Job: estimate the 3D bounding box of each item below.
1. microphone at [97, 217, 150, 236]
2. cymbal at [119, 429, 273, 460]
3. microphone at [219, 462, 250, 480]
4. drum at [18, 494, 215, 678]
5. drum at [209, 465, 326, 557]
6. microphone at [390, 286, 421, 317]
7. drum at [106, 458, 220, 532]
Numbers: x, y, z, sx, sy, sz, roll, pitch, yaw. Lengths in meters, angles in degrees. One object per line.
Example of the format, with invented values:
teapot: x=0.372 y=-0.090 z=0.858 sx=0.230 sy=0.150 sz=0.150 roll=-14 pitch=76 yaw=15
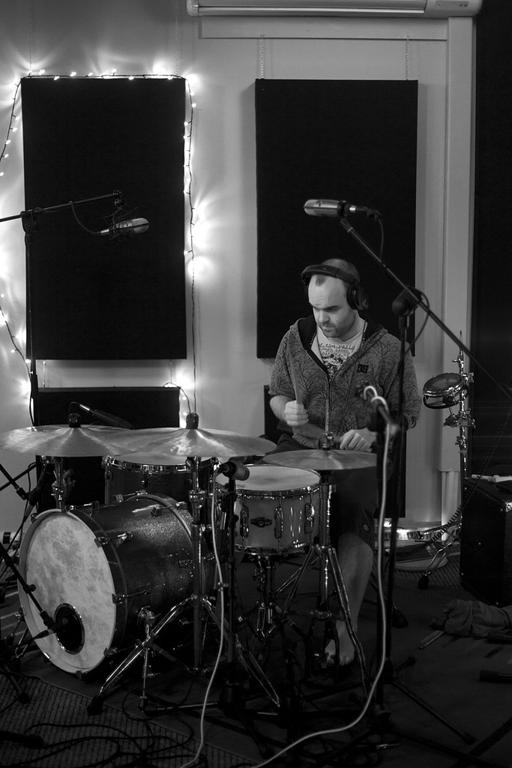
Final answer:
microphone: x=-0.605 y=-0.735 z=4.111 sx=0.231 sy=0.092 sz=0.409 roll=-3 pitch=8 yaw=-7
cymbal: x=-0.162 y=0.186 z=2.717 sx=0.213 sy=0.054 sz=0.211 roll=-5 pitch=13 yaw=-38
microphone: x=-0.058 y=0.243 z=2.542 sx=0.046 sy=0.038 sz=0.117 roll=-9 pitch=-18 yaw=24
drum: x=-0.520 y=0.580 z=2.969 sx=0.456 sy=0.430 sz=0.496 roll=-9 pitch=23 yaw=-27
drum: x=0.078 y=0.451 z=2.928 sx=0.274 sy=0.192 sz=0.280 roll=-1 pitch=-7 yaw=0
microphone: x=0.438 y=-0.237 z=2.643 sx=0.095 sy=0.076 sz=0.069 roll=-30 pitch=1 yaw=2
drum: x=-0.394 y=0.363 z=3.324 sx=0.272 sy=0.294 sz=0.280 roll=-1 pitch=5 yaw=-15
